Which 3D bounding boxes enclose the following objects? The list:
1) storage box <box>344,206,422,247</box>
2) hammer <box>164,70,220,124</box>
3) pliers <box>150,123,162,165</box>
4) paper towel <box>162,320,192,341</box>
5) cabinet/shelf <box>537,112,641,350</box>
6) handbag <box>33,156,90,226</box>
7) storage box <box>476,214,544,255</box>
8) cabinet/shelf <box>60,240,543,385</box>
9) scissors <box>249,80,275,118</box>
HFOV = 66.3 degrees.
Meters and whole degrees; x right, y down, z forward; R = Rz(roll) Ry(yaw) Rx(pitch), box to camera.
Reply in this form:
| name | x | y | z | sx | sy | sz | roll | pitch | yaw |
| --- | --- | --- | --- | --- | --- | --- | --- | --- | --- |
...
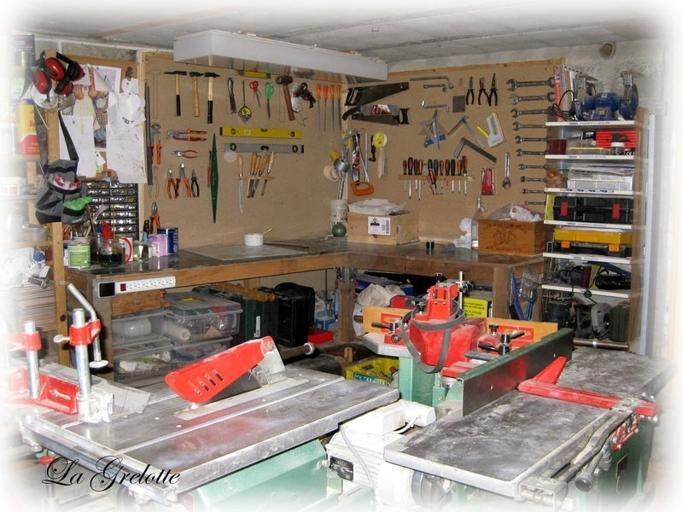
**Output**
| name | x | y | z | sx | sy | sz | roll | pitch | yaw |
| --- | --- | --- | --- | --- | --- | --- | --- | --- | --- |
| storage box | 0.469 | -0.330 | 5.705 | 0.664 | 0.301 | 0.529 | 9 | 14 | 39 |
| hammer | -1.431 | -1.555 | 5.090 | 0.100 | 0.499 | 0.558 | 7 | 10 | 44 |
| pliers | -1.749 | -1.045 | 4.903 | 0.027 | 0.378 | 0.118 | 9 | 14 | 18 |
| paper towel | -1.394 | 0.633 | 4.402 | 0.226 | 0.156 | 0.081 | 3 | 8 | 24 |
| cabinet/shelf | 2.336 | -0.240 | 4.818 | 0.909 | 2.107 | 0.643 | 4 | 9 | 28 |
| handbag | -2.179 | -0.483 | 4.037 | 0.325 | 0.541 | 0.546 | 15 | 13 | 32 |
| storage box | 1.552 | -0.204 | 4.880 | 0.399 | 0.341 | 0.548 | -10 | 14 | -40 |
| cabinet/shelf | -0.346 | 0.467 | 4.831 | 3.804 | 1.053 | 1.552 | -2 | 7 | -13 |
| scissors | -0.838 | -1.670 | 5.562 | 0.298 | 0.378 | 0.038 | -7 | 10 | -41 |
